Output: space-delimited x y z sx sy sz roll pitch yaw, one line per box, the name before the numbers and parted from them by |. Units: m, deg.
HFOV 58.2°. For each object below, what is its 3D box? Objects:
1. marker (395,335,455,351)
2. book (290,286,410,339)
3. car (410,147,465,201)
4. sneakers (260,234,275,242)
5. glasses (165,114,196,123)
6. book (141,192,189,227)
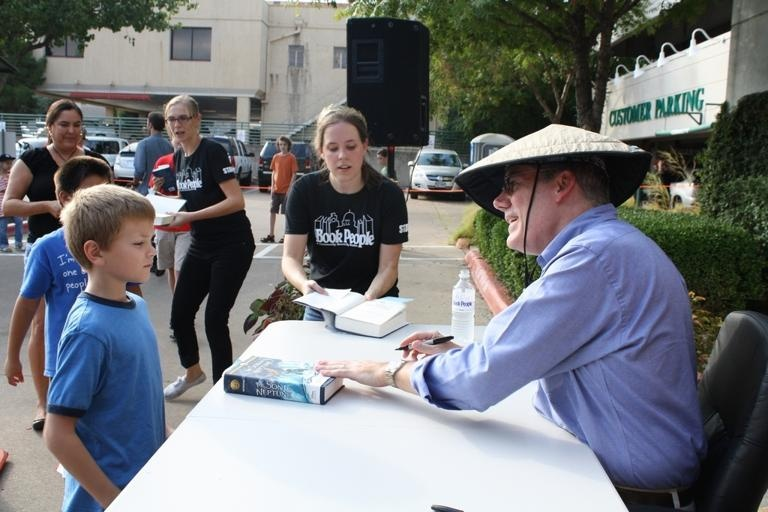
marker | 0.230 0.481 3.822 0.348 0.050 0.051 -9 4 5
book | -0.138 0.343 4.363 0.390 0.112 0.410 7 9 23
car | 1.602 -2.624 21.288 1.476 1.354 3.329 -1 3 -1
sneakers | -2.161 -0.346 12.694 0.302 0.144 0.131 5 6 11
glasses | -1.613 -1.102 5.511 0.184 0.068 0.064 3 8 -15
book | -1.669 -0.376 5.260 0.364 0.092 0.349 8 29 7
